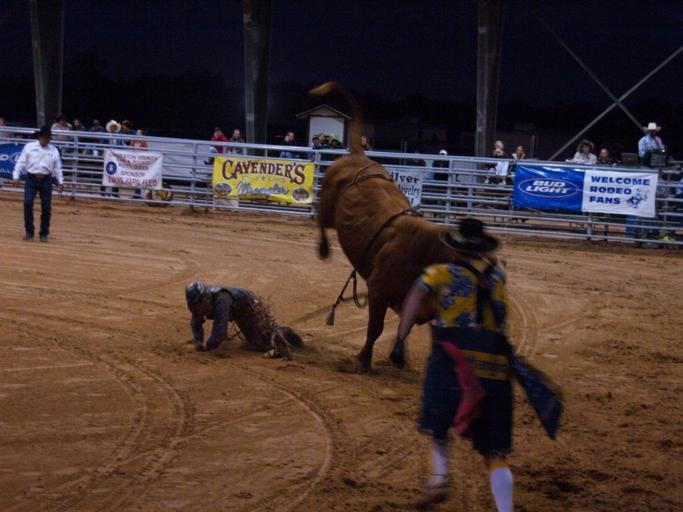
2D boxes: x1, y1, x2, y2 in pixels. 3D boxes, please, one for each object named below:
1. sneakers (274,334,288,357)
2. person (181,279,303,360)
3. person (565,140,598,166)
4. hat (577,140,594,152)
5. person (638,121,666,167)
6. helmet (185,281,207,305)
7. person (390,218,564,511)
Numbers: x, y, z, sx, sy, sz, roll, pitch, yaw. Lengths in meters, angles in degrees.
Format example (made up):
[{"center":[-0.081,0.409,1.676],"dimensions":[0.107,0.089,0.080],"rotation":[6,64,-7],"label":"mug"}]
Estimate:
[{"center":[-0.648,0.981,7.973],"dimensions":[0.170,0.214,0.053],"rotation":[-4,-40,-13],"label":"sneakers"},{"center":[-1.039,0.673,7.912],"dimensions":[1.316,0.820,0.667],"rotation":[2,5,-13],"label":"person"},{"center":[5.538,-2.284,16.358],"dimensions":[0.827,0.435,1.166],"rotation":[8,2,6],"label":"person"},{"center":[5.670,-2.471,16.685],"dimensions":[0.393,0.336,0.468],"rotation":[0,-2,16],"label":"hat"},{"center":[6.898,-2.439,15.932],"dimensions":[0.676,0.839,0.644],"rotation":[14,29,40],"label":"person"},{"center":[-1.499,0.390,7.542],"dimensions":[0.209,0.243,0.214],"rotation":[2,5,-9],"label":"helmet"},{"center":[1.003,0.842,5.487],"dimensions":[1.148,2.246,0.686],"rotation":[8,7,42],"label":"person"}]
